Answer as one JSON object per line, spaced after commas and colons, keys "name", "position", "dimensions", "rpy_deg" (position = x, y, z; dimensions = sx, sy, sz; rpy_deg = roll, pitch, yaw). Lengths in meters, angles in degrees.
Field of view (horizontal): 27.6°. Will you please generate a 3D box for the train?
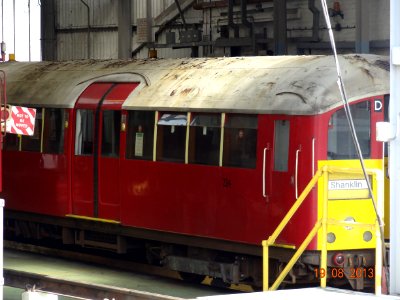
{"name": "train", "position": [-0.380, 0.339, 16.858], "dimensions": [8.057, 4.748, 1.393], "rpy_deg": [-2, -3, 28]}
